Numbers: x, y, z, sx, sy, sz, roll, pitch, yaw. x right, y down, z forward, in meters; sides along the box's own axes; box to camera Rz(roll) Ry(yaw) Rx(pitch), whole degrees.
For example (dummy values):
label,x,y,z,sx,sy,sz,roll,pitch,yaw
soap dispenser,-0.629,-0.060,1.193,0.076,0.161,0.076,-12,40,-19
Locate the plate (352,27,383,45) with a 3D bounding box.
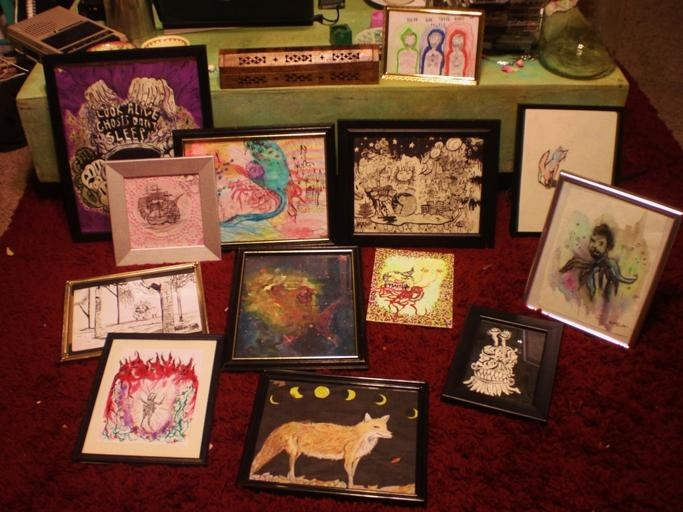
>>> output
label,x,y,z,sx,sy,sz,roll,pitch,yaw
plate,0.100,-0.863,2.131,0.112,0.027,0.115,-20,54,-10
